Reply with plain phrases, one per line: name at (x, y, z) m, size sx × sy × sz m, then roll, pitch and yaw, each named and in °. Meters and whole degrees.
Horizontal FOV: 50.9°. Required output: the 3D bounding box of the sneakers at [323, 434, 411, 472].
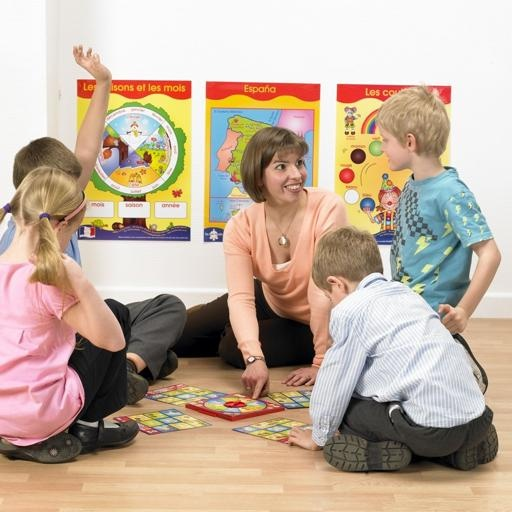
sneakers at (0.266, 0.469, 1.322) m, size 0.235 × 0.071 × 0.087 m, roll 3°, pitch -2°, yaw 4°

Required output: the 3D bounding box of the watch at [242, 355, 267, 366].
watch at (-0.010, 0.363, 1.889) m, size 0.057 × 0.031 × 0.053 m, roll 19°, pitch -45°, yaw -34°

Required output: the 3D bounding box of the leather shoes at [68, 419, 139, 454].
leather shoes at (-0.397, 0.463, 1.459) m, size 0.199 × 0.072 × 0.069 m, roll -7°, pitch 14°, yaw -35°

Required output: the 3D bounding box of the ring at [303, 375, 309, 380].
ring at (0.188, 0.462, 2.046) m, size 0.020 × 0.007 × 0.024 m, roll 23°, pitch -9°, yaw -1°

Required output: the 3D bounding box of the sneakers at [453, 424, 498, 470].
sneakers at (0.535, 0.473, 1.332) m, size 0.057 × 0.126 × 0.090 m, roll 8°, pitch -10°, yaw -15°

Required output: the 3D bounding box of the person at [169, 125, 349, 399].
person at (-0.023, 0.000, 2.174) m, size 0.828 × 0.945 × 0.665 m, roll 5°, pitch 26°, yaw 29°
